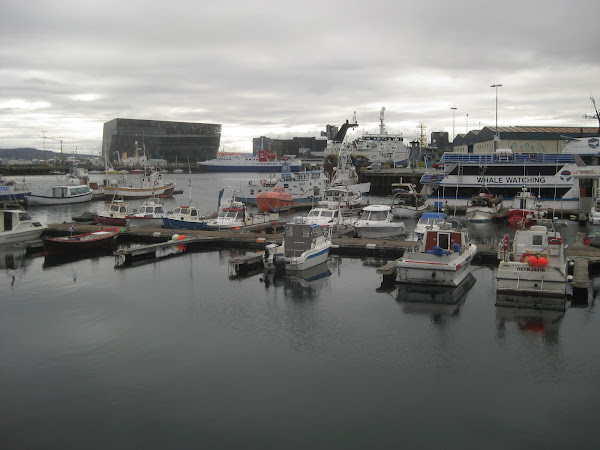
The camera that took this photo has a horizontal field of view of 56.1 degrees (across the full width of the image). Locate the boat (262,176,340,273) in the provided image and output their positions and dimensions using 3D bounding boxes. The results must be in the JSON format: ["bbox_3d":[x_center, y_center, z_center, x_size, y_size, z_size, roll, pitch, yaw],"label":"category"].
[{"bbox_3d":[0.075,0.807,28.801,1.645,1.963,4.920,5,18,19],"label":"boat"}]

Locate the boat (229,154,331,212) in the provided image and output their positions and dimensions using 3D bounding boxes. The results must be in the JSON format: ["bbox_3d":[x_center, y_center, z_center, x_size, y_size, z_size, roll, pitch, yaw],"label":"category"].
[{"bbox_3d":[-2.245,-4.102,62.976,10.864,3.830,3.622,-3,2,-3],"label":"boat"}]

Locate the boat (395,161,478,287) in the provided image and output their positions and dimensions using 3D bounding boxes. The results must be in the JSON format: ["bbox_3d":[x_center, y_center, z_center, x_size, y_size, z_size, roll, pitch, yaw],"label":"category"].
[{"bbox_3d":[6.623,0.969,25.755,2.722,2.266,5.735,5,13,32],"label":"boat"}]
